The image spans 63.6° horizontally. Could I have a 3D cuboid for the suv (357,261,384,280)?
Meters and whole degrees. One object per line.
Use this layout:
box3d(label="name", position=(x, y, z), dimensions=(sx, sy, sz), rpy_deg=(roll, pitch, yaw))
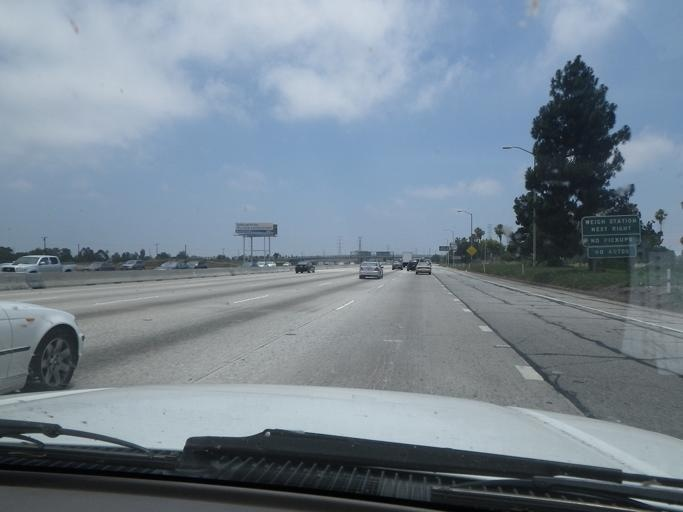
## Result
box3d(label="suv", position=(2.634, 1.306, 50.592), dimensions=(1.692, 1.327, 3.863), rpy_deg=(-1, -4, 7))

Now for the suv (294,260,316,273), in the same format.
box3d(label="suv", position=(-4.371, 1.374, 65.166), dimensions=(1.176, 0.912, 2.741), rpy_deg=(0, 4, 13))
